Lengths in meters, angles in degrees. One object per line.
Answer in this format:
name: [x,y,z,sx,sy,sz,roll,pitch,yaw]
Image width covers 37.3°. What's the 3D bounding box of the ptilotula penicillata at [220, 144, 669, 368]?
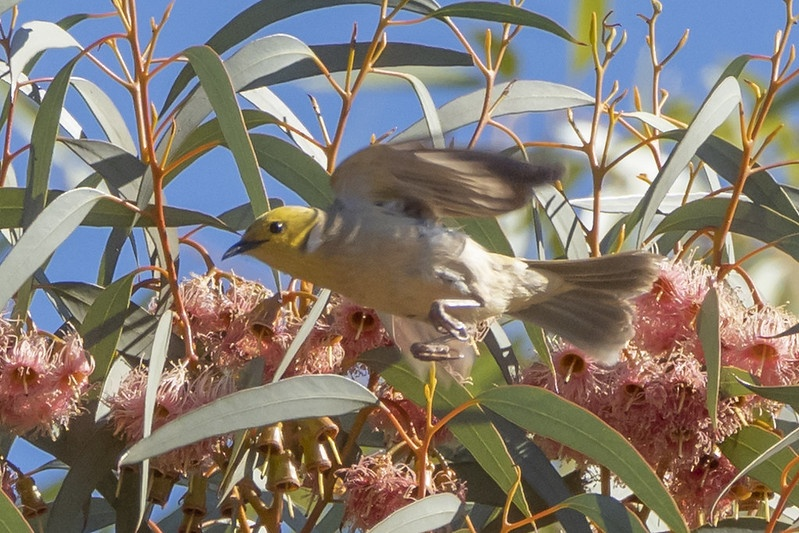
ptilotula penicillata: [0.116,0.018,2.635,0.931,0.353,0.693,6,-32,-15]
